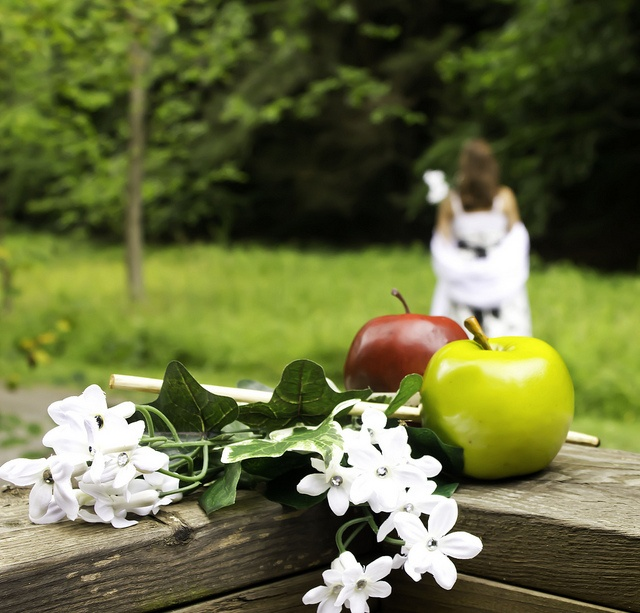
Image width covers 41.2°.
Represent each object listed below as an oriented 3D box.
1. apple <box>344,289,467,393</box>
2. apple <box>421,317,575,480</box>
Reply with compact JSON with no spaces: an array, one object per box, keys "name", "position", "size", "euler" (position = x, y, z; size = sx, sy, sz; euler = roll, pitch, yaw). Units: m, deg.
[{"name":"apple","position":[0.112,0.052,1.032],"size":[0.153,0.129,0.140],"euler":[5,6,37]},{"name":"apple","position":[0.186,0.106,0.910],"size":[0.186,0.133,0.149],"euler":[-1,1,4]}]
